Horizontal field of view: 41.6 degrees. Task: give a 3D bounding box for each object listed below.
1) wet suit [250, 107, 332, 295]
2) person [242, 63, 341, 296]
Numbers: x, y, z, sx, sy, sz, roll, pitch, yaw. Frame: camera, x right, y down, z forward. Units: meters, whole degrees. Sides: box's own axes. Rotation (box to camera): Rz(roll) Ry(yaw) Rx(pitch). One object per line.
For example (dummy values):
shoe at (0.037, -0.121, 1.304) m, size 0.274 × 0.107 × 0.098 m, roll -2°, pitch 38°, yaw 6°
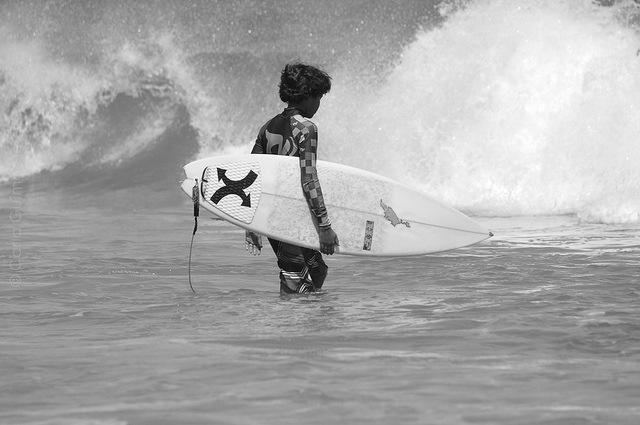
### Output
wet suit at (-0.259, -0.084, 9.241) m, size 0.892 × 2.148 × 0.350 m, roll 6°, pitch 11°, yaw 36°
person at (-0.219, -0.359, 9.455) m, size 1.038 × 2.614 × 0.957 m, roll 2°, pitch 9°, yaw 15°
